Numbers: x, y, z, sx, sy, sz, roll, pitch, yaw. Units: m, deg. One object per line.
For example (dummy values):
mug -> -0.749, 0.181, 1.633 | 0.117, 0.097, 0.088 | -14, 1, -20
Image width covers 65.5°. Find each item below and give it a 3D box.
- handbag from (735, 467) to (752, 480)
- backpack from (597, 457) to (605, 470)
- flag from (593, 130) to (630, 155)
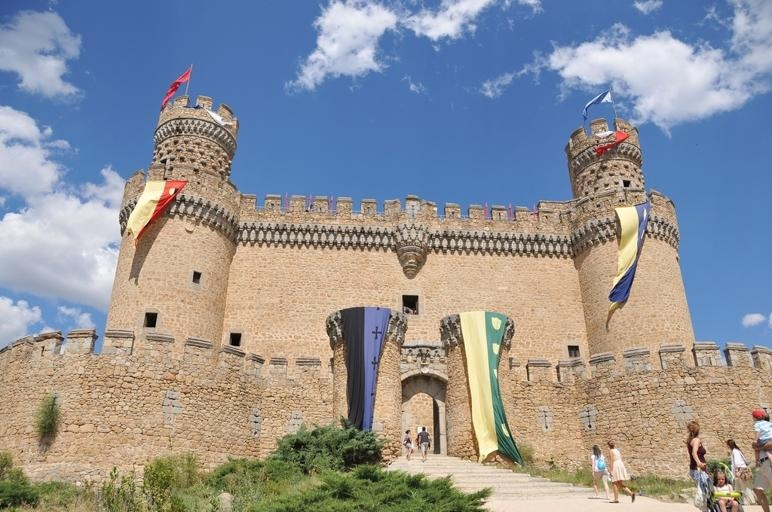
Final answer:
handbag -> 9.948, 6.053, 16.693 | 0.363, 0.281, 0.369 | -5, -18, 15
backpack -> 7.318, 7.092, 20.426 | 0.254, 0.384, 0.136 | 0, -23, 3
flag -> 12.190, -6.090, 32.563 | 1.644, 0.630, 1.179 | -30, 1, 24
